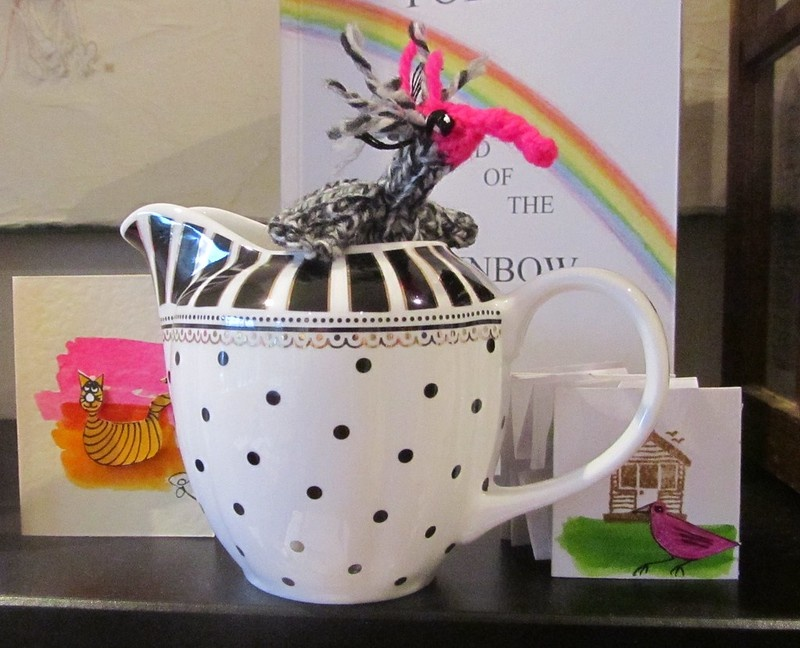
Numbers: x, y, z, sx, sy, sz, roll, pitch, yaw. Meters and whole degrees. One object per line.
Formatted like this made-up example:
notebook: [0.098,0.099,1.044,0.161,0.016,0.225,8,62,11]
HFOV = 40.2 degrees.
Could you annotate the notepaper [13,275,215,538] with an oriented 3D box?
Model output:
notepaper: [-0.270,0.074,1.030,0.204,0.285,0.014,-1,1,3]

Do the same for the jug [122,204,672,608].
jug: [0.001,0.065,1.027,0.451,0.372,0.306,6,12,12]

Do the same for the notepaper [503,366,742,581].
notepaper: [0.207,0.136,1.071,0.217,0.248,0.146,1,6,-1]
